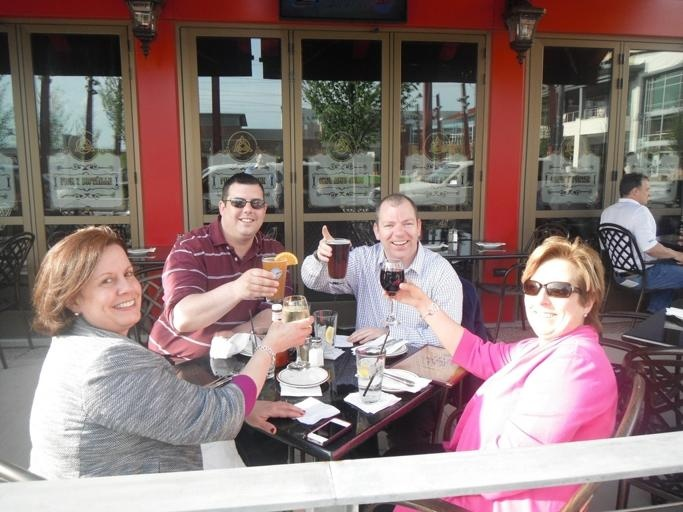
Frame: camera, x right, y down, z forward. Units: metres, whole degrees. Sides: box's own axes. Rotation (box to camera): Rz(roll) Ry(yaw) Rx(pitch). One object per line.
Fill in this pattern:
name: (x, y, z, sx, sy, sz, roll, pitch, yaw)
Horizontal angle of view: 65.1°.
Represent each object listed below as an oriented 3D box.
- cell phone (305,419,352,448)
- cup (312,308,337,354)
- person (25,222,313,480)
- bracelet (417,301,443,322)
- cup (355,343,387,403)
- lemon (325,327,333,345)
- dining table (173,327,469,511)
cell phone: (-0.054, 0.641, 1.976, 0.070, 0.019, 0.122, 8, 17, 33)
cup: (-0.106, 0.375, 2.651, 0.131, 0.179, 0.131, 4, -7, 0)
person: (-0.609, 0.376, 2.048, 0.821, 0.964, 1.041, 6, 11, 42)
bracelet: (0.390, 0.245, 2.435, 0.087, 0.036, 0.066, -23, 33, -16)
cup: (0.113, 0.485, 2.237, 0.181, 0.275, 0.185, 0, -2, 0)
lemon: (-0.059, 0.381, 2.581, 0.037, 0.077, 0.037, 1, -3, 37)
dining table: (-0.041, 0.622, 2.406, 0.774, 0.715, 0.777, 9, 14, 41)
